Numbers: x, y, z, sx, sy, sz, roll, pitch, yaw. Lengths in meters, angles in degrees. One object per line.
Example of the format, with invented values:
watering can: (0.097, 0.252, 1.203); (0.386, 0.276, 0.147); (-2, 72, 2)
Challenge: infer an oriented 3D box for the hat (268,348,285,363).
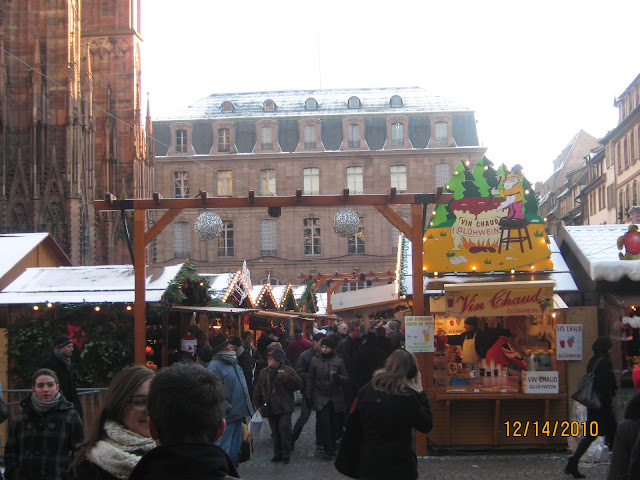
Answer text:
hat: (-0.954, 2.573, 26.615); (0.274, 0.289, 0.436); (-3, -5, 32)

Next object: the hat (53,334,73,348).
hat: (-5.342, 2.116, 24.933); (0.290, 0.221, 0.284); (2, 4, 4)

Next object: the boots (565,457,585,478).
boots: (5.254, 4.686, 24.712); (0.459, 0.445, 0.331); (2, -5, -27)

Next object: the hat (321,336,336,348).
hat: (0.169, 2.313, 26.822); (0.231, 0.225, 0.298); (7, 10, 8)

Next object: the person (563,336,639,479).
person: (5.619, 3.456, 24.739); (0.971, 2.877, 0.486); (0, -4, -2)
